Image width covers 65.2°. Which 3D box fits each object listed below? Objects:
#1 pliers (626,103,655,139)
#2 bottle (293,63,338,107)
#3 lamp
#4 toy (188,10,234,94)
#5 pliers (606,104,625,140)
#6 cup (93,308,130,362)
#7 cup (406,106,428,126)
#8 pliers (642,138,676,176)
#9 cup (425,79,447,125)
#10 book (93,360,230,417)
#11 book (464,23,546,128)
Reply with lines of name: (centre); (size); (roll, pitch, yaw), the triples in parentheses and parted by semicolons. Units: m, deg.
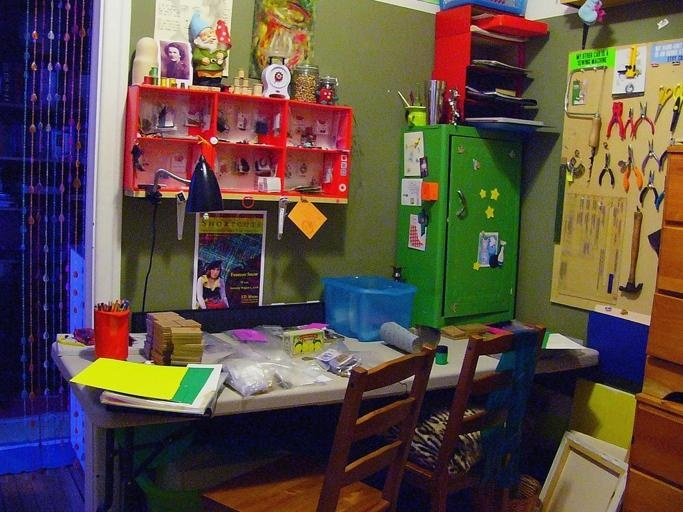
pliers: (1.492, -0.669, 2.653); (0.022, 0.171, 0.131); (-5, 9, -33)
bottle: (-0.135, -0.898, 2.818); (0.269, 0.203, 0.148); (1, 5, -29)
lamp: (-0.723, -0.318, 2.428); (0.259, 0.265, 0.385); (-4, 9, -29)
toy: (-0.640, -0.994, 2.583); (0.198, 0.376, 0.162); (-2, 8, -13)
pliers: (1.417, -0.695, 2.741); (0.028, 0.193, 0.096); (-5, 9, -33)
cup: (-0.910, 0.302, 2.112); (0.128, 0.209, 0.140); (0, 8, 0)
cup: (0.429, -0.799, 3.062); (0.116, 0.091, 0.119); (0, 3, 0)
pliers: (1.518, -0.440, 2.577); (0.143, 0.151, 0.226); (2, 8, 28)
cup: (0.529, -0.857, 2.991); (0.096, 0.243, 0.065); (1, 8, 8)
book: (-0.615, 0.469, 1.890); (0.359, 0.073, 0.318); (0, 7, -1)
book: (0.915, -1.057, 3.040); (0.451, 0.541, 0.426); (3, 8, 26)
